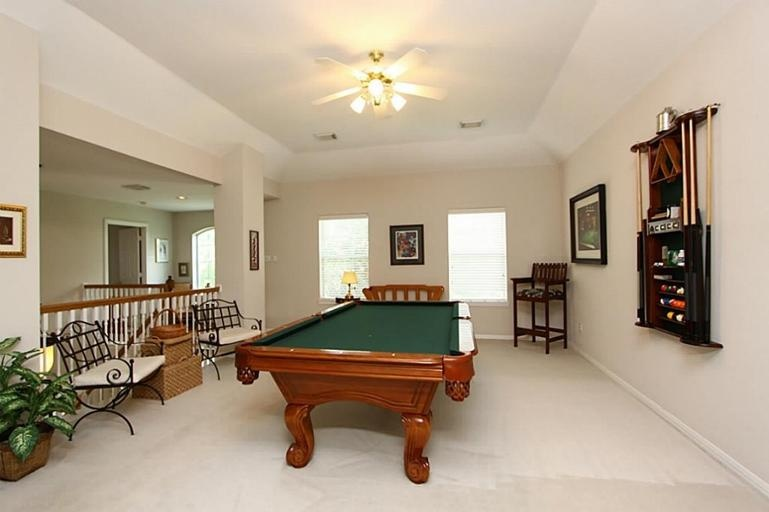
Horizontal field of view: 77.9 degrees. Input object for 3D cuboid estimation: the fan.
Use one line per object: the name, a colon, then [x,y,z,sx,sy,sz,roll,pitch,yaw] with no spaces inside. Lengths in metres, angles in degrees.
fan: [-0.085,-1.914,5.217,1.354,0.605,1.560,-3,9,-7]

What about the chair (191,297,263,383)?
chair: [-2.081,1.076,6.084,0.614,1.066,0.995,0,1,18]

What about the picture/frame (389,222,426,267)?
picture/frame: [0.399,-0.198,8.155,0.726,0.887,0.067,-1,-3,6]

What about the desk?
desk: [-0.170,0.983,4.464,1.429,0.826,2.421,-2,1,7]

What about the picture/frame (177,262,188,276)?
picture/frame: [-4.600,0.281,10.729,0.293,0.349,0.034,1,7,17]
